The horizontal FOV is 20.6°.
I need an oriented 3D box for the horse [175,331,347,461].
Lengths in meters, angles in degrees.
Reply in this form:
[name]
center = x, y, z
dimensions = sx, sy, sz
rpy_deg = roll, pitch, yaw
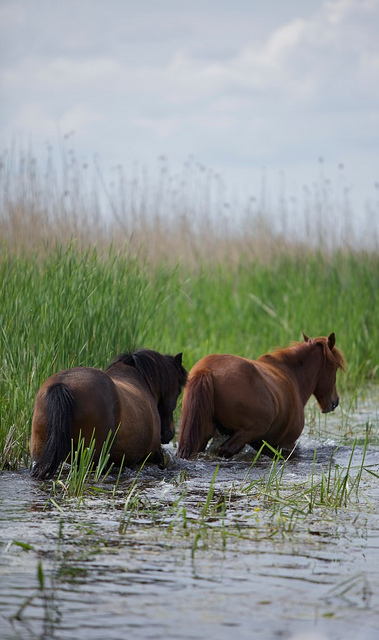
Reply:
[horse]
center = 0.461, 0.619, 6.238
dimensions = 1.231, 1.082, 0.401
rpy_deg = 4, -1, -39
